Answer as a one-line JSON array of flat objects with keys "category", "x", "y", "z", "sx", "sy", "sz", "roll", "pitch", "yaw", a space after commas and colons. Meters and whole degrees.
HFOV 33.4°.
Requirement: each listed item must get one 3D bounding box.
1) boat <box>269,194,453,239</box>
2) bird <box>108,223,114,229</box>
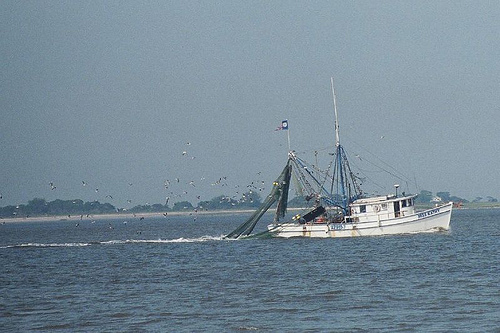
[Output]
[{"category": "boat", "x": 14.926, "y": 6.447, "z": 104.829, "sx": 20.330, "sy": 6.201, "sz": 4.150, "roll": 0, "pitch": 9, "yaw": 11}, {"category": "bird", "x": -27.584, "y": 12.057, "z": 165.733, "sx": 0.945, "sy": 1.647, "sz": 0.810, "roll": 1, "pitch": -8, "yaw": -14}]
